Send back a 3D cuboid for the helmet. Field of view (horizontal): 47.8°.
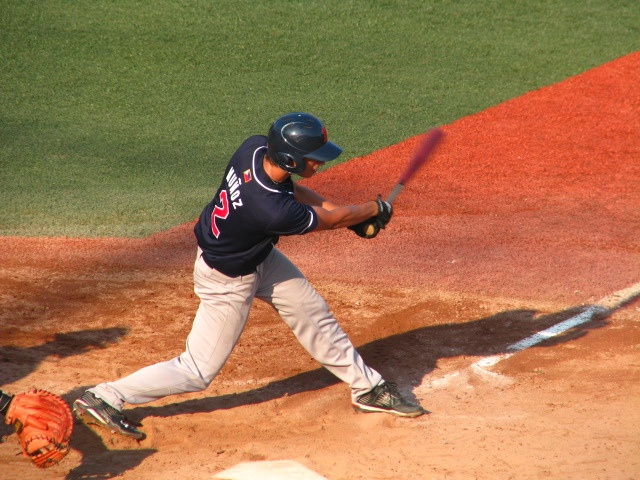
[{"bbox_3d":[-0.139,-0.698,5.378,0.725,0.301,0.398,7,36,0],"label":"helmet"}]
